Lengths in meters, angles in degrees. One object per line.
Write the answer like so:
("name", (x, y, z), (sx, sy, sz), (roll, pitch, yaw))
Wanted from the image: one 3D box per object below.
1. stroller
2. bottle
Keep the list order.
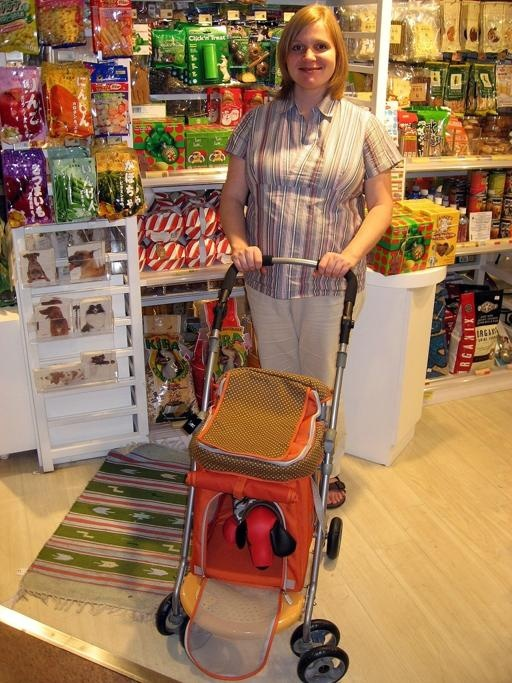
("stroller", (-0.014, 0.357, 1.293), (0.508, 1.033, 0.541), (2, 21, 10))
("bottle", (0.940, -0.710, 2.732), (0.346, 0.434, 0.326), (-2, 29, 1))
